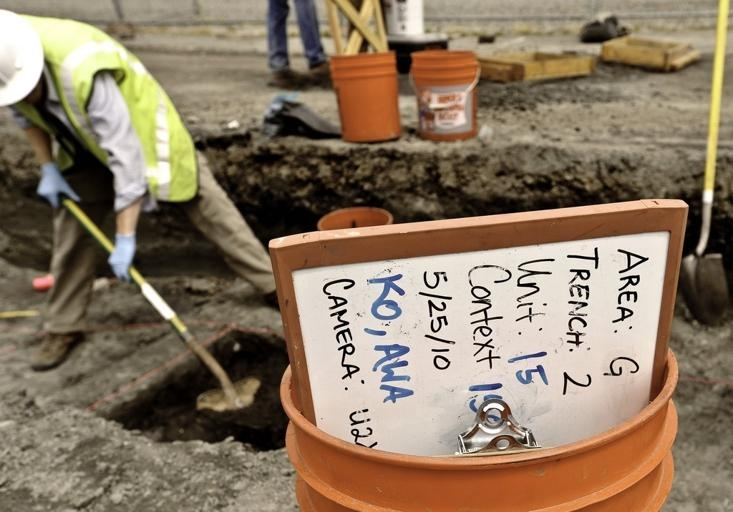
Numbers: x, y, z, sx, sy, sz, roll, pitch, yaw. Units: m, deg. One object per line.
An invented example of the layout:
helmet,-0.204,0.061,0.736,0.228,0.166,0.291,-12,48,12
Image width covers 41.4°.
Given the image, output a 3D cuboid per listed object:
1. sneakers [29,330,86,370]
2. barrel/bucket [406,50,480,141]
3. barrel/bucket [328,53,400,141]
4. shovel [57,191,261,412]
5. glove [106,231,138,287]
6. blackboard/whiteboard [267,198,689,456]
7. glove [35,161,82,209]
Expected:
sneakers,-1.802,0.540,5.595,0.205,0.191,0.275,12,22,34
barrel/bucket,0.440,-1.016,6.006,0.543,0.502,0.504,-4,18,1
barrel/bucket,0.037,-1.006,6.050,0.522,0.493,0.492,-4,16,1
shovel,-1.033,0.432,5.638,0.571,1.969,0.258,-24,28,34
glove,-1.333,-0.009,5.303,0.156,0.239,0.064,3,3,-4
blackboard/whiteboard,0.504,0.331,4.153,1.600,1.366,0.119,-4,28,0
glove,-1.740,-0.395,5.433,0.196,0.276,0.155,-14,31,-23
